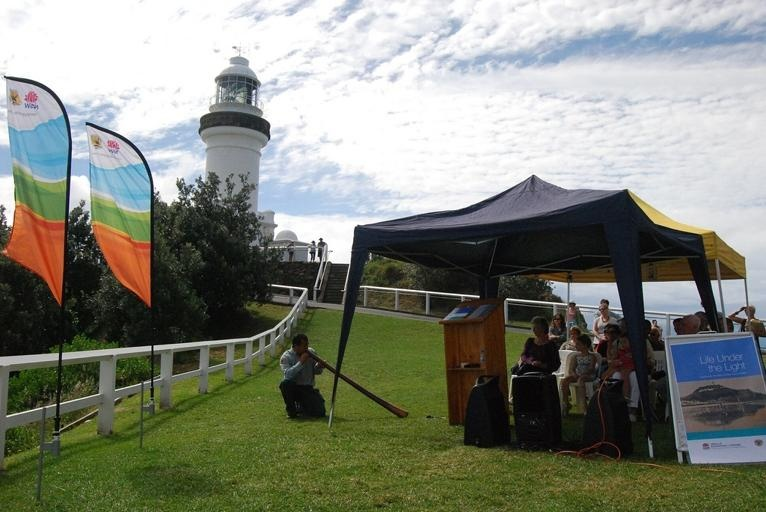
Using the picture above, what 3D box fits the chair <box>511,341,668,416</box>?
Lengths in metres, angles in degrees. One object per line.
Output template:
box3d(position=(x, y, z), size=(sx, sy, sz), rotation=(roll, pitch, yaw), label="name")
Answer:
box3d(position=(4.644, 2.381, 12.098), size=(2.105, 1.191, 1.872), rotation=(-5, -10, 28), label="chair")

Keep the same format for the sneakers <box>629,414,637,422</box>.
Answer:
box3d(position=(4.824, 3.096, 11.291), size=(0.098, 0.146, 0.361), rotation=(-5, -10, 26), label="sneakers")

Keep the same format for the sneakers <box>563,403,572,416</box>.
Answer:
box3d(position=(3.844, 3.197, 12.269), size=(0.117, 0.258, 0.084), rotation=(-5, 2, 4), label="sneakers")

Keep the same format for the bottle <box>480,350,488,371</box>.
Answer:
box3d(position=(1.885, 1.936, 11.019), size=(0.157, 0.399, 0.065), rotation=(-6, -10, 32), label="bottle")

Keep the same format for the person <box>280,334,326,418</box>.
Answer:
box3d(position=(-1.637, 2.412, 11.893), size=(0.903, 1.647, 0.473), rotation=(2, -9, -12), label="person")

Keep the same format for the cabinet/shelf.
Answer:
box3d(position=(1.753, 2.005, 11.292), size=(1.160, 2.370, 0.711), rotation=(-2, -9, 9), label="cabinet/shelf")

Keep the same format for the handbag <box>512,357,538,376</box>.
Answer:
box3d(position=(2.741, 2.159, 11.486), size=(0.507, 0.339, 0.682), rotation=(-1, -5, 9), label="handbag")
